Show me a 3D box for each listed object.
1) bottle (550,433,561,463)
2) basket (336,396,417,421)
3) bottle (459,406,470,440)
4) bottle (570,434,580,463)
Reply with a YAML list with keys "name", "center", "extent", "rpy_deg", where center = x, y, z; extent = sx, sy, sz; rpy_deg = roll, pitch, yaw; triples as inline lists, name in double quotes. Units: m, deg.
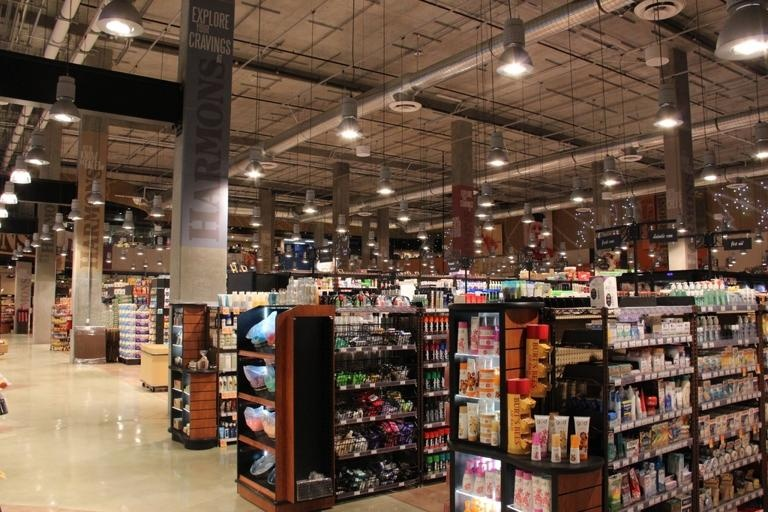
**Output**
- name: "bottle"
  center: [2.270, 2.512, 8.566]
  extent: [0.153, 0.373, 0.073]
  rpy_deg: [0, -5, 1]
- name: "basket"
  center: [-0.134, 2.563, 10.986]
  extent: [0.538, 0.213, 0.725]
  rpy_deg: [4, -5, -35]
- name: "bottle"
  center: [1.094, 2.306, 9.031]
  extent: [0.131, 0.457, 0.028]
  rpy_deg: [-2, -6, 20]
- name: "bottle"
  center: [2.527, 2.547, 8.605]
  extent: [0.150, 0.364, 0.081]
  rpy_deg: [0, -5, 1]
